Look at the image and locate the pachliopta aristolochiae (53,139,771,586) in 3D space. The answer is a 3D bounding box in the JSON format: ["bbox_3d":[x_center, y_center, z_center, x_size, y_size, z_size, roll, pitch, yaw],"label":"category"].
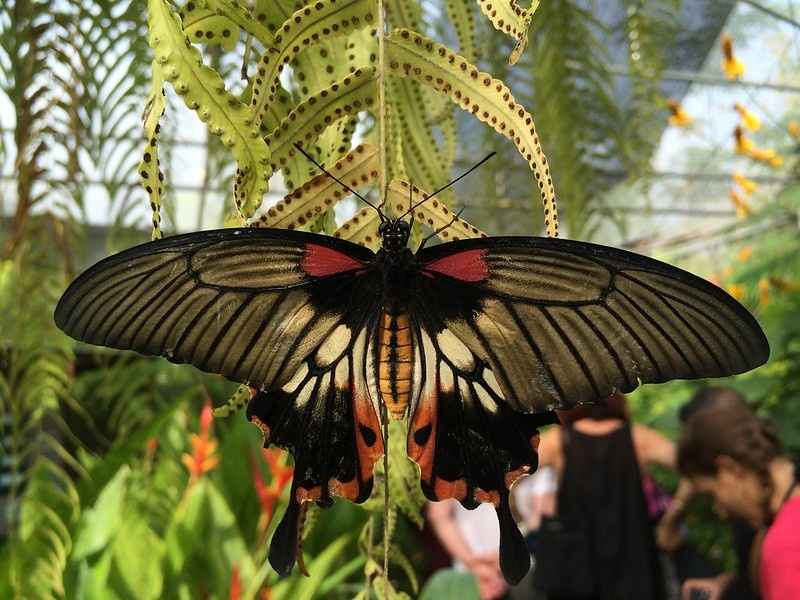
[{"bbox_3d":[0.002,0.185,2.951,1.615,0.233,0.909,1,-71,9],"label":"pachliopta aristolochiae"}]

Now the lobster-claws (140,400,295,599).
[{"bbox_3d":[-0.523,0.566,3.857,0.509,0.625,0.237,3,-17,2],"label":"lobster-claws"}]
